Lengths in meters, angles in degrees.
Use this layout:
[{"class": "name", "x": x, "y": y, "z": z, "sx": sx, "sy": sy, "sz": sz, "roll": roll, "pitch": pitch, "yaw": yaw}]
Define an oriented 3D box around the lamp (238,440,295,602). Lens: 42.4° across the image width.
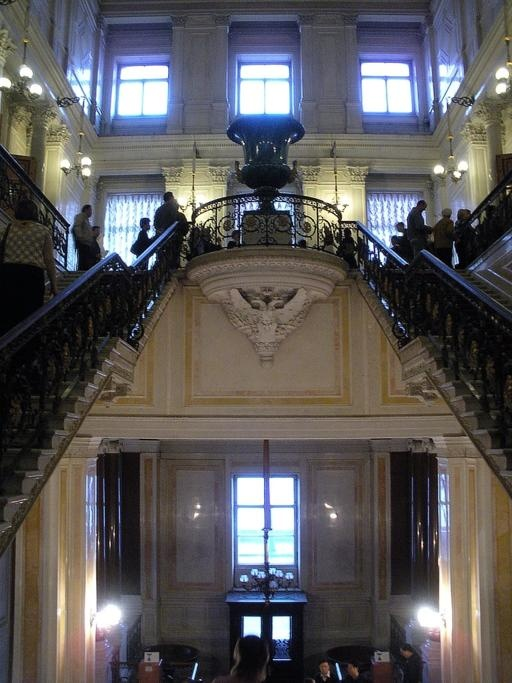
[{"class": "lamp", "x": 0.205, "y": 2.933, "z": 11.159, "sx": 1.153, "sy": 2.734, "sz": 3.119, "roll": 0, "pitch": -19, "yaw": -1}]
